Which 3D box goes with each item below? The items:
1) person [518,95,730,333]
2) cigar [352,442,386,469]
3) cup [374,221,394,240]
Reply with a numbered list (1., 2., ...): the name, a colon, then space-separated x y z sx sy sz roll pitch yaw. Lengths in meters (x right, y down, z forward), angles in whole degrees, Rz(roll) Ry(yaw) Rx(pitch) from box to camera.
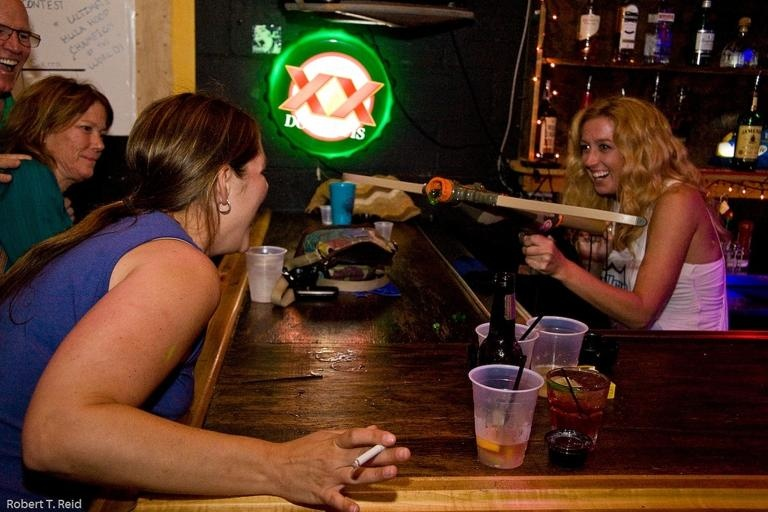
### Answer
1. person: 1.122 -0.150 2.623 0.802 1.042 1.279 5 16 22
2. cigar: -0.033 0.438 1.347 0.100 0.025 0.025 -28 -14 -27
3. cup: 0.006 -0.138 3.282 0.119 0.071 0.106 0 13 -3
